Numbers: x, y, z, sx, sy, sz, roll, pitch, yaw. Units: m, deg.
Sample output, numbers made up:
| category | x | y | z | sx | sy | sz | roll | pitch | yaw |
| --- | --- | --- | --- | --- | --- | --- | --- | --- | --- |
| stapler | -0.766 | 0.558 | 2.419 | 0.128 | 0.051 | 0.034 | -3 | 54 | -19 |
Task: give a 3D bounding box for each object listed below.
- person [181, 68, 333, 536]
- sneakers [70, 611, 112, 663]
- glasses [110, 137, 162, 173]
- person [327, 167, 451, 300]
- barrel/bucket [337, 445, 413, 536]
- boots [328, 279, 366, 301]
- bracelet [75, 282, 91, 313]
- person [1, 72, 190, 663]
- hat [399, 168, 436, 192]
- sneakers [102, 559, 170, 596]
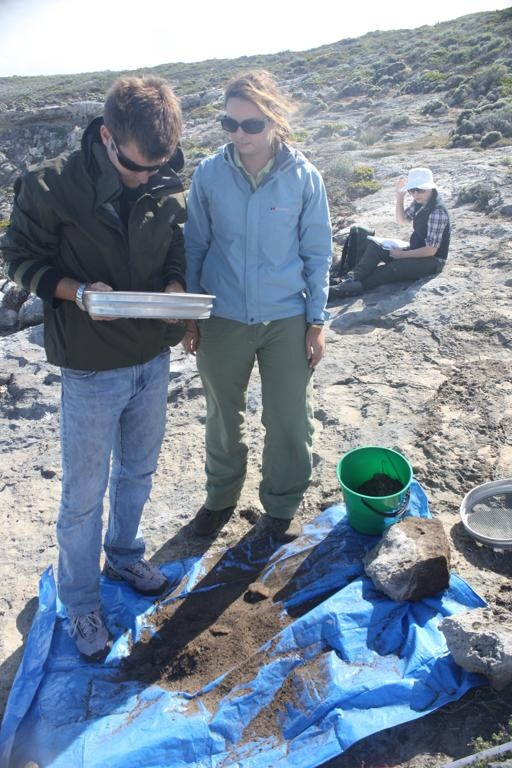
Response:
| category | x | y | z | sx | sy | sz | roll | pitch | yaw |
| --- | --- | --- | --- | --- | --- | --- | --- | --- | --- |
| person | -0.014 | -0.271 | 3.684 | 0.702 | 2.356 | 0.338 | 3 | 19 | 4 |
| sneakers | -0.705 | 1.087 | 3.254 | 0.125 | 0.238 | 0.103 | -26 | -20 | -14 |
| glasses | -0.459 | -0.828 | 2.743 | 0.111 | 0.110 | 0.034 | -16 | -20 | -48 |
| person | 1.270 | -1.432 | 7.200 | 1.051 | 1.236 | 1.290 | 4 | 18 | 7 |
| barrel/bucket | 0.573 | 0.547 | 3.741 | 0.352 | 0.378 | 0.467 | 3 | 18 | 6 |
| boots | 0.861 | -0.892 | 7.178 | 0.319 | 0.122 | 0.174 | -10 | 49 | 9 |
| bracelet | -0.649 | -0.323 | 2.769 | 0.027 | 0.085 | 0.093 | 5 | -11 | 6 |
| person | -0.593 | -0.027 | 3.144 | 0.548 | 2.364 | 0.699 | 15 | 23 | 33 |
| hat | 1.435 | -1.880 | 6.722 | 0.328 | 0.200 | 0.394 | 1 | 6 | 13 |
| sneakers | -0.551 | 0.937 | 3.584 | 0.368 | 0.145 | 0.121 | 17 | 58 | 4 |
